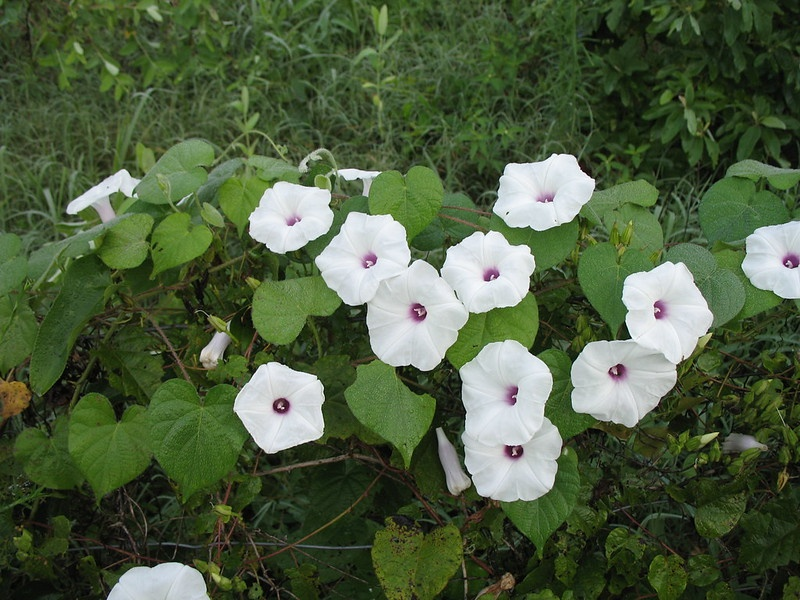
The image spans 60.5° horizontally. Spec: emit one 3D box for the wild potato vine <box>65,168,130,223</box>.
[{"bbox_3d":[-1.065,-0.365,2.446,0.218,0.105,0.235,-25,25,6],"label":"wild potato vine"}]

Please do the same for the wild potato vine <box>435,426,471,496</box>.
[{"bbox_3d":[0.166,0.545,2.290,0.080,0.077,0.250,-21,68,13],"label":"wild potato vine"}]

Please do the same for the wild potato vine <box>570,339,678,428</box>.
[{"bbox_3d":[0.649,0.252,2.031,0.307,0.238,0.177,12,55,-5],"label":"wild potato vine"}]

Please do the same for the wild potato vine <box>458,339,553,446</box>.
[{"bbox_3d":[0.296,0.271,2.032,0.260,0.190,0.246,20,56,0],"label":"wild potato vine"}]

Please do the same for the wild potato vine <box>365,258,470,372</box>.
[{"bbox_3d":[0.036,0.060,2.050,0.280,0.230,0.239,40,59,13],"label":"wild potato vine"}]

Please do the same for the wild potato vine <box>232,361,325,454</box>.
[{"bbox_3d":[-0.366,0.353,2.115,0.274,0.233,0.239,0,58,-13],"label":"wild potato vine"}]
